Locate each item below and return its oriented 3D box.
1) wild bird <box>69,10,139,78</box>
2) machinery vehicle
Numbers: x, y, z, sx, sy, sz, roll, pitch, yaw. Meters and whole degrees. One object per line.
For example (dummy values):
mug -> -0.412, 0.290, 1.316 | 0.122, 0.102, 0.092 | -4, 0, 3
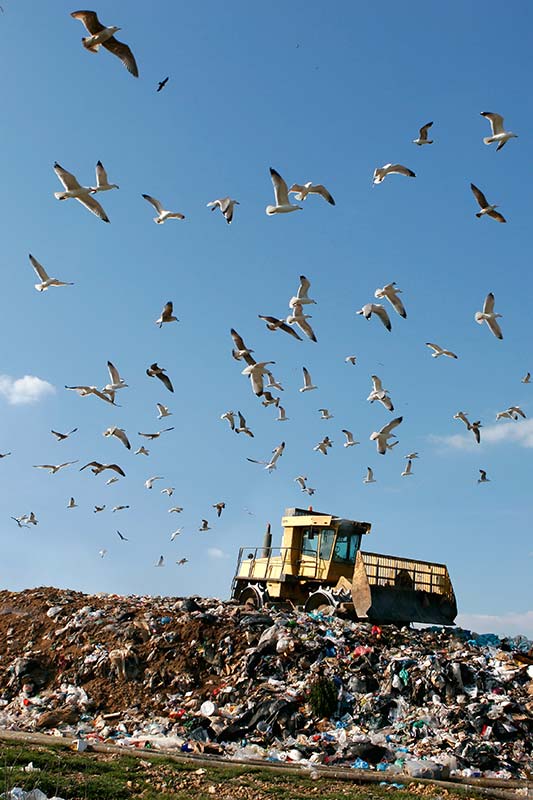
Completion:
wild bird -> -2.996, -6.552, 18.130 | 0.883, 0.926, 0.950 | 0, -9, 20
machinery vehicle -> 2.093, 5.540, 32.004 | 3.882, 3.399, 6.813 | 17, -19, -41
